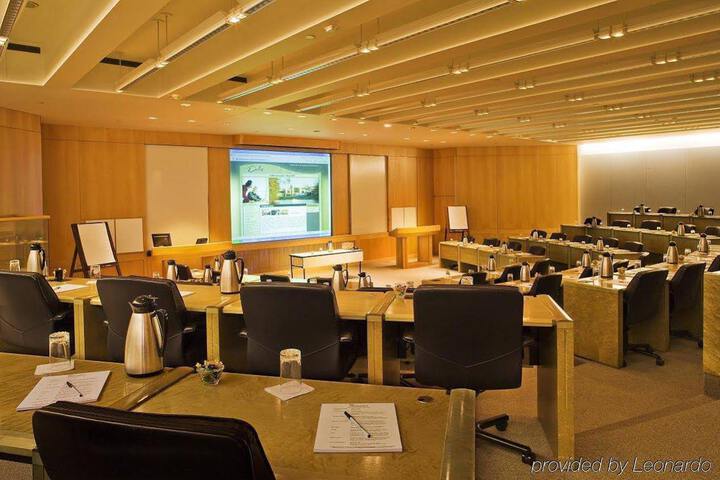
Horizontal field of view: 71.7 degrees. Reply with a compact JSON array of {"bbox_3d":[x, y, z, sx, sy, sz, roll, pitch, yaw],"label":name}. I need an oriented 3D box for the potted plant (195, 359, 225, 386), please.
[{"bbox_3d":[-0.990,0.846,3.242,0.169,0.113,0.164,1,-2,-20],"label":"potted plant"}]

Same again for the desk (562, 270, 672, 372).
[{"bbox_3d":[3.191,0.736,6.418,1.434,1.400,1.200,-3,5,-31],"label":"desk"}]

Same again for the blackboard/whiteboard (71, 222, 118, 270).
[{"bbox_3d":[-4.069,0.105,7.624,0.401,0.743,0.759,-2,5,2],"label":"blackboard/whiteboard"}]

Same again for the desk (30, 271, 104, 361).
[{"bbox_3d":[-2.728,0.731,4.610,0.841,0.755,0.575,4,7,36],"label":"desk"}]

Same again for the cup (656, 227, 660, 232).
[{"bbox_3d":[6.874,-0.242,11.496,0.077,0.094,0.141,0,3,38],"label":"cup"}]

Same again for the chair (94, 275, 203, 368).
[{"bbox_3d":[-1.920,0.739,4.695,0.895,1.042,0.965,1,0,12],"label":"chair"}]

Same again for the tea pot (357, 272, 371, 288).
[{"bbox_3d":[0.029,0.511,6.334,0.229,0.219,0.150,5,-7,-43],"label":"tea pot"}]

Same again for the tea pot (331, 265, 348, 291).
[{"bbox_3d":[-0.245,0.418,5.582,0.274,0.294,0.187,1,-2,-39],"label":"tea pot"}]

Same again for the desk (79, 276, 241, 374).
[{"bbox_3d":[-1.806,0.628,4.686,1.248,1.107,0.947,2,5,13],"label":"desk"}]

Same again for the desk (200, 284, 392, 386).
[{"bbox_3d":[-0.595,0.677,4.502,1.303,0.996,1.017,0,6,14],"label":"desk"}]

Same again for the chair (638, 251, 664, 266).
[{"bbox_3d":[5.186,0.334,8.892,0.243,0.302,0.266,-1,3,-26],"label":"chair"}]

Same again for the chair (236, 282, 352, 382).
[{"bbox_3d":[-0.433,0.758,4.382,0.849,0.970,0.856,0,2,9],"label":"chair"}]

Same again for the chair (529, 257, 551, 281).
[{"bbox_3d":[2.860,0.457,7.975,0.283,0.364,0.313,-3,4,-31],"label":"chair"}]

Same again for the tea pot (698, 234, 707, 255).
[{"bbox_3d":[5.615,0.053,8.160,0.137,0.306,0.340,1,6,34],"label":"tea pot"}]

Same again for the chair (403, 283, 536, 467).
[{"bbox_3d":[0.876,0.813,3.977,0.891,1.064,0.908,-1,1,8],"label":"chair"}]

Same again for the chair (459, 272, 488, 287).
[{"bbox_3d":[1.418,0.489,6.224,0.259,0.166,0.144,-2,7,-34],"label":"chair"}]

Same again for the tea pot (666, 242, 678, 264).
[{"bbox_3d":[4.550,0.179,7.270,0.161,0.319,0.327,1,6,32],"label":"tea pot"}]

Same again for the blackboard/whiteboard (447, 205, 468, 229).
[{"bbox_3d":[2.966,-0.698,15.370,0.755,0.696,0.098,-2,4,-26],"label":"blackboard/whiteboard"}]
